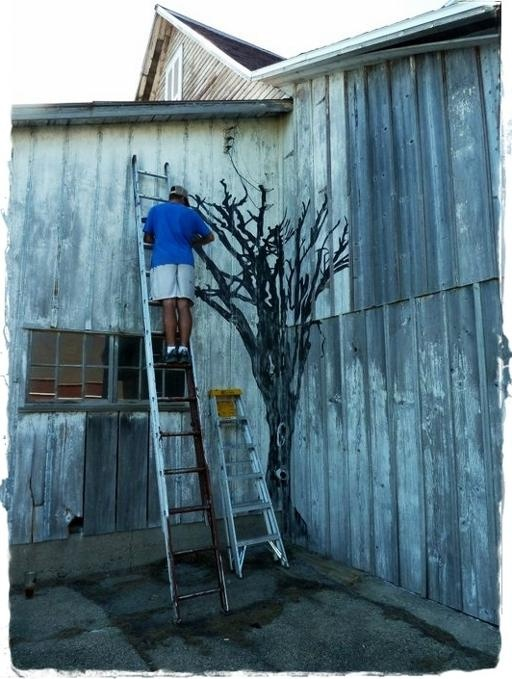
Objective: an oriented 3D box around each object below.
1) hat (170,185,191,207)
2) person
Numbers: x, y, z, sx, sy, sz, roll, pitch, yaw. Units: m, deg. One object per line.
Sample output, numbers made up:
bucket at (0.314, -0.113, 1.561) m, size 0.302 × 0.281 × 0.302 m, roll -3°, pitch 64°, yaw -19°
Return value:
hat at (-0.629, -1.174, 5.249) m, size 0.102 × 0.113 × 0.176 m, roll 13°, pitch 9°, yaw -1°
person at (-0.633, -0.545, 4.984) m, size 0.502 × 1.401 × 0.748 m, roll 0°, pitch -1°, yaw 6°
